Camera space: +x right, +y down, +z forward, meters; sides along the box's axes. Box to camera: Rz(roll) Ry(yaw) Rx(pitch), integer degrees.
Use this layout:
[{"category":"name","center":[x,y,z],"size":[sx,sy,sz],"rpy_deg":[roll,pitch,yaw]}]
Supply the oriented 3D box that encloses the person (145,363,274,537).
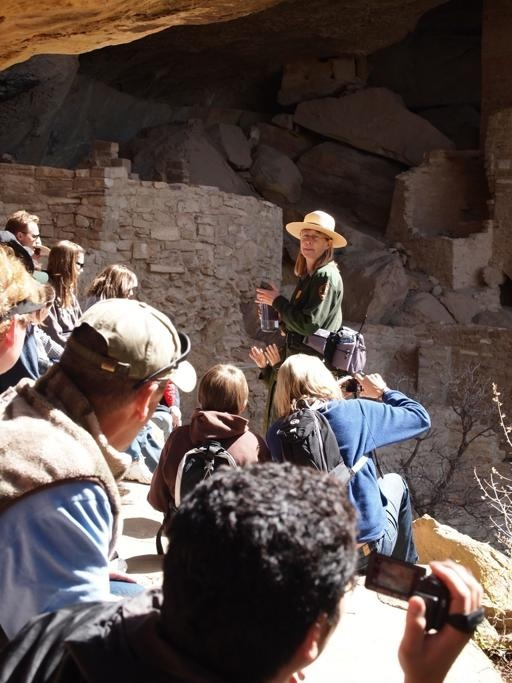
[{"category":"person","center":[-0.209,0.591,2.644],"size":[0.564,0.910,0.343],"rpy_deg":[10,17,-4]}]

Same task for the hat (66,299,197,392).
[{"category":"hat","center":[-0.244,0.030,1.331],"size":[0.244,0.118,0.164],"rpy_deg":[17,24,-38]}]

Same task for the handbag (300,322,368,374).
[{"category":"handbag","center":[0.421,0.025,3.393],"size":[0.370,0.192,0.325],"rpy_deg":[2,18,-18]}]

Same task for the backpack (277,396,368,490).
[{"category":"backpack","center":[0.207,0.393,2.262],"size":[0.221,0.264,0.197],"rpy_deg":[-14,-9,32]}]

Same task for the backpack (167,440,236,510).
[{"category":"backpack","center":[-0.186,0.545,2.397],"size":[0.271,0.300,0.232],"rpy_deg":[9,-6,2]}]
